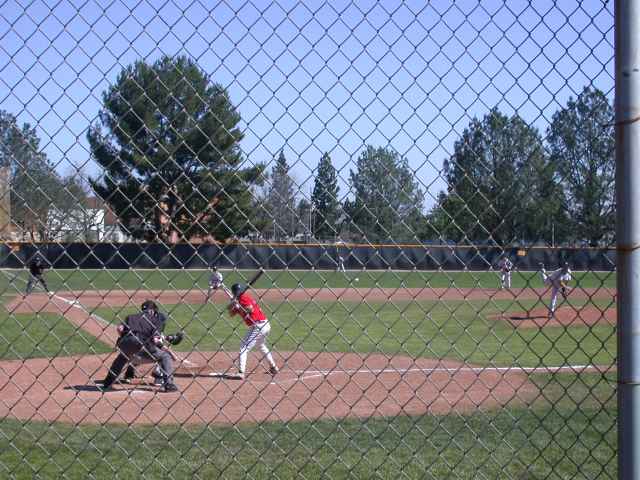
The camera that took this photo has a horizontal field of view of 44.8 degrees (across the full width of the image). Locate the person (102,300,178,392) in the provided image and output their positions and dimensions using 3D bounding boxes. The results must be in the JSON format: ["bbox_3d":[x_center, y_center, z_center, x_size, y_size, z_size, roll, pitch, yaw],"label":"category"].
[{"bbox_3d":[-2.748,1.653,11.855,1.206,1.701,0.925,2,-6,9],"label":"person"}]

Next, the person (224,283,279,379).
[{"bbox_3d":[-1.198,1.629,13.481,1.111,2.356,0.974,0,15,-2],"label":"person"}]

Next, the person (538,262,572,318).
[{"bbox_3d":[4.880,0.980,15.756,0.468,0.301,1.136,-14,-44,32],"label":"person"}]
